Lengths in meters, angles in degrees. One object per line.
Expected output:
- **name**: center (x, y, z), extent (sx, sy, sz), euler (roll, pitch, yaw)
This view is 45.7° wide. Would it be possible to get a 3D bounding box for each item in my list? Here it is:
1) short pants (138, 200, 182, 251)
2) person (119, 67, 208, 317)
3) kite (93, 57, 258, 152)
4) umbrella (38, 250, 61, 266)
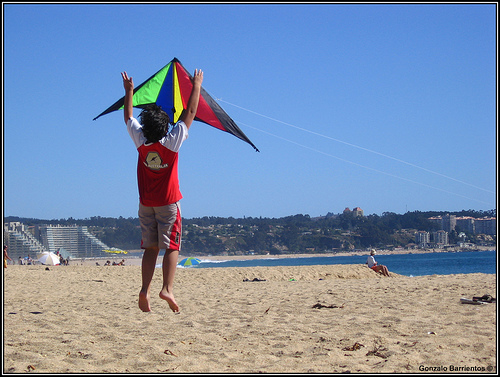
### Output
- **short pants**: center (-1.167, 0.389, 7.573), extent (0.541, 0.773, 0.435), euler (4, 18, 2)
- **person**: center (-1.113, 0.012, 7.449), extent (0.837, 3.094, 0.486), euler (3, -4, -13)
- **kite**: center (-1.154, -1.289, 8.977), extent (2.770, 1.401, 0.149), euler (14, 29, 15)
- **umbrella**: center (-10.134, 3.588, 29.916), extent (0.854, 0.505, 1.643), euler (4, -4, -15)
